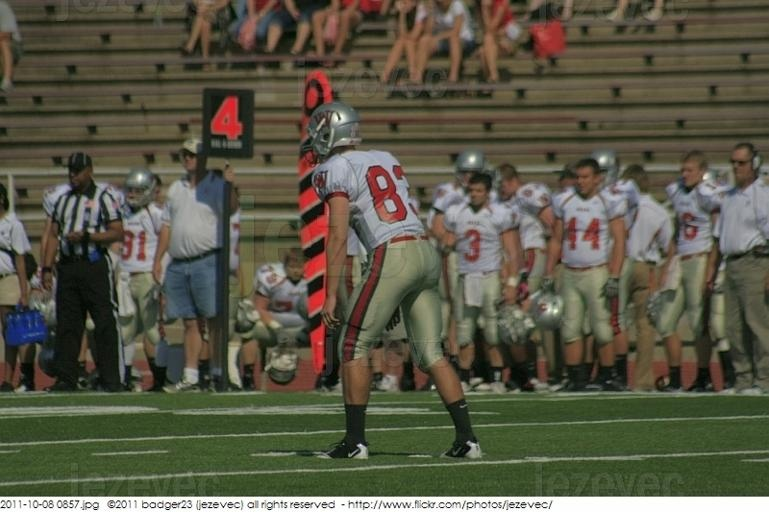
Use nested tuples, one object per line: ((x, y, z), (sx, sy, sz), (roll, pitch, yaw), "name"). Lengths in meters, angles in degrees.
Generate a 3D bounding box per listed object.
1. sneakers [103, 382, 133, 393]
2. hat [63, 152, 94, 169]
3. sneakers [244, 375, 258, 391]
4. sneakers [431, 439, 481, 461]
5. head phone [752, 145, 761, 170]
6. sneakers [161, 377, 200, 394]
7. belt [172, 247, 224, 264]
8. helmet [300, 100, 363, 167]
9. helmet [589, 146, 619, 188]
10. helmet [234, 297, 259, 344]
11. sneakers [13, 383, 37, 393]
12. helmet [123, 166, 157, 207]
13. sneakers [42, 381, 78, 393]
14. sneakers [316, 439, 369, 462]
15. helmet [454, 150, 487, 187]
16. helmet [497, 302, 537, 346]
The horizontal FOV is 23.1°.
((-2.658, 1.325, 18.906), (0.301, 0.108, 0.102), (0, 5, 7), "sneakers")
((-3.036, -0.967, 18.908), (0.195, 0.136, 0.184), (2, 14, 8), "hat")
((-1.301, 1.289, 19.021), (0.173, 0.182, 0.120), (4, -8, -40), "sneakers")
((0.634, 1.675, 16.118), (0.313, 0.119, 0.153), (-1, -1, 28), "sneakers")
((3.732, -0.988, 18.939), (0.063, 0.171, 0.136), (-6, 2, 27), "head phone")
((-1.990, 1.306, 18.776), (0.410, 0.154, 0.130), (4, 0, -2), "sneakers")
((-1.833, -0.004, 18.796), (0.248, 0.073, 0.233), (-11, 13, 47), "belt")
((-0.443, -1.123, 16.550), (0.614, 0.497, 0.480), (2, 9, 43), "helmet")
((2.347, -0.945, 19.500), (0.374, 0.345, 0.294), (-17, 14, -41), "helmet")
((-1.369, 0.631, 18.755), (0.156, 0.352, 0.330), (-8, 15, -17), "helmet")
((-3.633, 1.351, 19.110), (0.184, 0.066, 0.095), (7, -9, -8), "sneakers")
((-2.523, -0.733, 19.491), (0.336, 0.387, 0.410), (5, 15, 16), "helmet")
((-3.194, 1.323, 18.798), (0.354, 0.135, 0.112), (3, 2, 2), "sneakers")
((-0.345, 1.691, 16.151), (0.477, 0.155, 0.161), (2, -6, 2), "sneakers")
((0.876, -0.935, 19.150), (0.327, 0.364, 0.376), (-5, 2, 13), "helmet")
((1.326, 0.684, 19.012), (0.338, 0.322, 0.417), (-4, 0, -5), "helmet")
